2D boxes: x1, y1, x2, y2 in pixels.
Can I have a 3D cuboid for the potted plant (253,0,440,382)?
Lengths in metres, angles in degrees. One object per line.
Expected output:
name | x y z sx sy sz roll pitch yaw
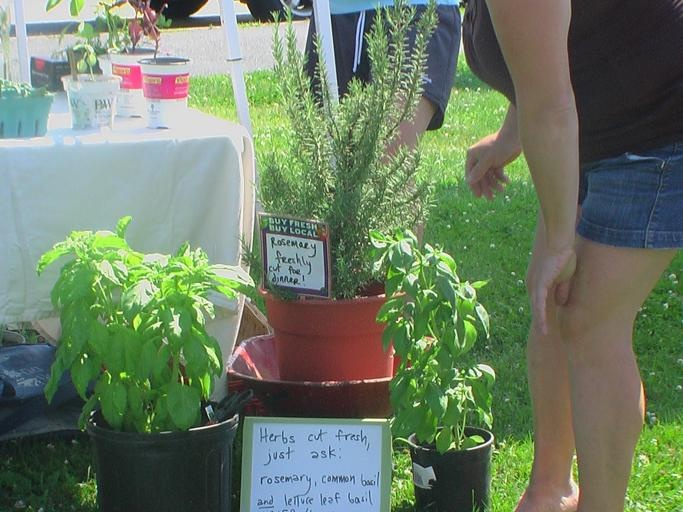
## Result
potted plant | 0.117 -0.301 2.827 0.790 2.007 0.918 2 9 12
